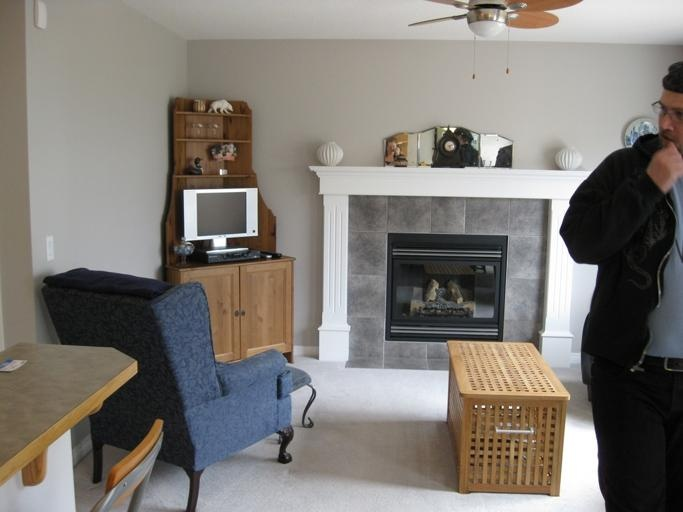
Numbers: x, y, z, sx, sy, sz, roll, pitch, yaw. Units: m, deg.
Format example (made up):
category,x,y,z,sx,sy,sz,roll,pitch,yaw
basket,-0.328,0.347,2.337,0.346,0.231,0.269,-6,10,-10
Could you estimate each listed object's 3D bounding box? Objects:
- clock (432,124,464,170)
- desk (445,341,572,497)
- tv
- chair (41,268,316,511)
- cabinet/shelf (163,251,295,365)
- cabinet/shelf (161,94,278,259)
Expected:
category,x,y,z,sx,sy,sz,roll,pitch,yaw
clock,0.910,-0.923,4.923,0.307,0.375,0.055,7,36,17
desk,0.969,0.944,3.630,0.563,0.593,0.964,1,10,7
tv,-0.982,-0.305,4.863,0.646,0.486,0.184,-2,-3,9
chair,-0.951,0.627,3.564,1.058,1.348,1.380,2,4,34
cabinet/shelf,-0.763,0.532,4.943,0.997,0.931,0.392,-8,-12,26
cabinet/shelf,-1.131,-0.645,5.240,1.106,0.375,1.488,4,-26,-6
